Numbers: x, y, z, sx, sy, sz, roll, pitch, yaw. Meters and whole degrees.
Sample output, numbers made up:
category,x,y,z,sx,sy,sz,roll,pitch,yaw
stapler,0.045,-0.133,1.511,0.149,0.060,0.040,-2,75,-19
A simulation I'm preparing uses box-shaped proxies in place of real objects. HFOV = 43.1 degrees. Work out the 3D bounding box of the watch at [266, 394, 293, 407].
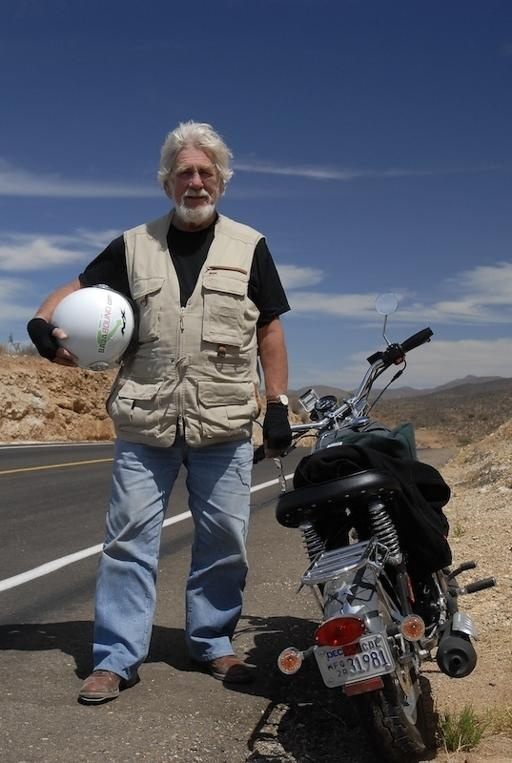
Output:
category,x,y,z,sx,sy,sz,roll,pitch,yaw
watch,0.106,0.109,3.192,0.091,0.053,0.091,-4,-14,8

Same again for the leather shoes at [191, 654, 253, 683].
category,x,y,z,sx,sy,sz,roll,pitch,yaw
leather shoes,-0.158,1.368,3.122,0.275,0.105,0.100,-5,0,32

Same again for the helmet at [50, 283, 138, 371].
category,x,y,z,sx,sy,sz,roll,pitch,yaw
helmet,-0.778,-0.261,3.059,0.413,0.408,0.222,5,3,20
